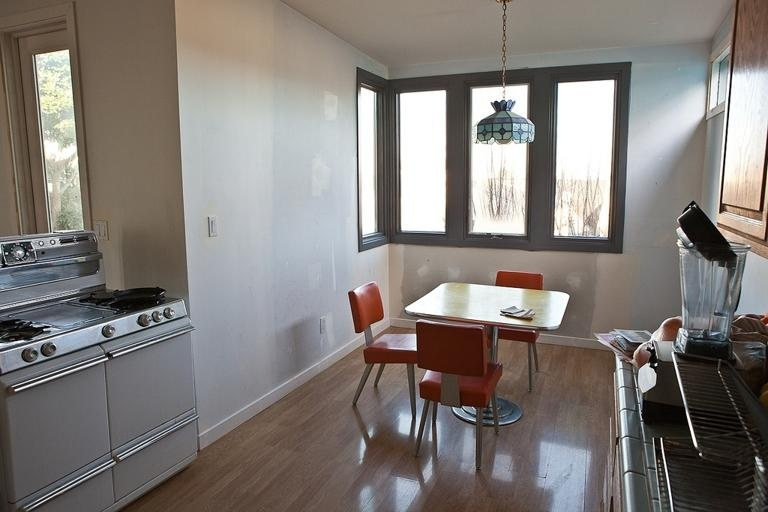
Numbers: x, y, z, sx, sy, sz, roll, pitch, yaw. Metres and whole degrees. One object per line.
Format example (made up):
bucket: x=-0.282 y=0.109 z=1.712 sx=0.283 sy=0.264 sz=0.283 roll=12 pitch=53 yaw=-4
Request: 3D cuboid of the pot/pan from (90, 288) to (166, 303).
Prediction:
pot/pan: x=-1.724 y=0.261 z=3.437 sx=0.342 sy=0.049 sz=0.208 roll=-5 pitch=5 yaw=-30

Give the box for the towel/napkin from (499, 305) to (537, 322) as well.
towel/napkin: x=1.025 y=0.426 z=3.911 sx=0.259 sy=0.038 sz=0.310 roll=2 pitch=9 yaw=17

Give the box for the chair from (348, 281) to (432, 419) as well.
chair: x=0.069 y=0.749 z=4.288 sx=0.599 sy=0.969 sz=0.573 roll=0 pitch=9 yaw=13

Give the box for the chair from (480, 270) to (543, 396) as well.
chair: x=1.222 y=0.610 z=4.690 sx=0.439 sy=0.492 sz=0.829 roll=7 pitch=41 yaw=7

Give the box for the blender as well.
blender: x=1.340 y=0.103 z=2.116 sx=0.279 sy=0.622 sz=0.276 roll=6 pitch=11 yaw=37

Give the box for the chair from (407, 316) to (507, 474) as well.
chair: x=0.530 y=0.908 z=3.619 sx=0.574 sy=1.044 sz=0.548 roll=1 pitch=9 yaw=13

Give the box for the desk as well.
desk: x=0.909 y=0.719 z=4.201 sx=1.149 sy=0.862 sz=1.114 roll=1 pitch=9 yaw=18
